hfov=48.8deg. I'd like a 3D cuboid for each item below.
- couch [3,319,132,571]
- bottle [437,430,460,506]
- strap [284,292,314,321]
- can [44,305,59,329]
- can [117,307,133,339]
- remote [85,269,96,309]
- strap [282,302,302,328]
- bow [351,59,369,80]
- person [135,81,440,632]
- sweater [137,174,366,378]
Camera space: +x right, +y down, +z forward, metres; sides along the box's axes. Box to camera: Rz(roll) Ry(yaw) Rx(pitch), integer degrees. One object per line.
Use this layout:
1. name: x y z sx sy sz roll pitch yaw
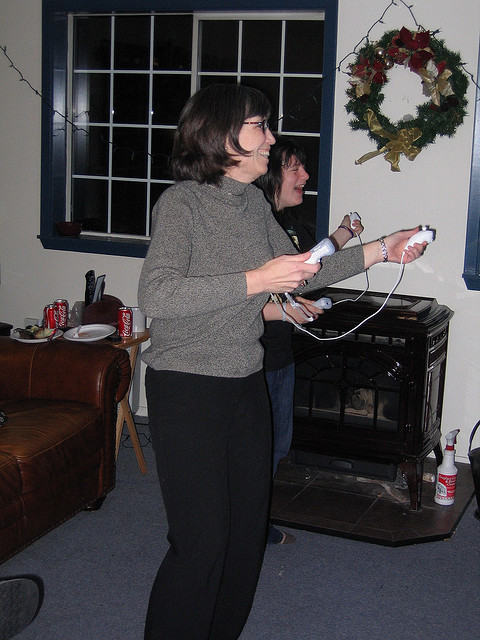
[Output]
1. couch: -0.728 0.538 2.208 0.423 0.553 0.782 3 12 15
2. bottle: 1.031 0.701 2.572 0.070 0.366 0.196 8 10 39
3. strap: 0.167 -0.036 1.534 0.117 0.030 0.024 46 5 28
4. can: -1.042 -0.019 2.924 0.078 0.122 0.194 -2 9 -20
5. can: -0.628 0.006 2.883 0.082 0.158 0.199 0 9 -12
6. remote: -0.888 -0.188 3.134 0.062 0.201 0.087 -1 8 -14
7. strap: 0.152 -0.023 1.584 0.065 0.086 0.029 8 0 -11
8. bow: 0.630 -1.334 2.795 0.075 0.076 0.025 11 20 29
9. person: 0.055 0.168 1.260 0.350 1.384 0.635 8 11 42
10. sweater: 0.012 -0.100 1.166 0.491 0.406 0.316 -1 16 -20
